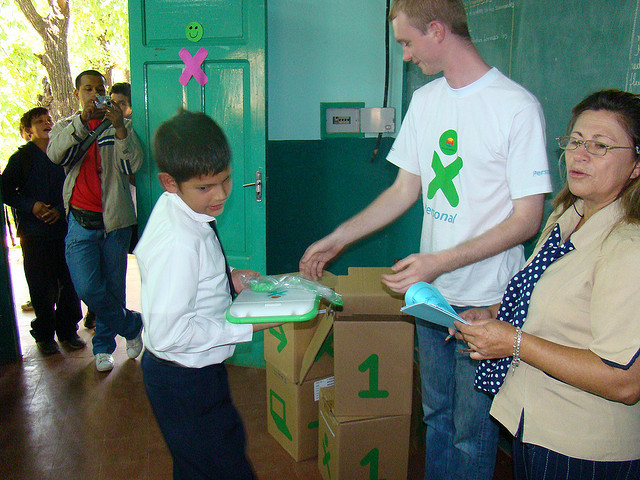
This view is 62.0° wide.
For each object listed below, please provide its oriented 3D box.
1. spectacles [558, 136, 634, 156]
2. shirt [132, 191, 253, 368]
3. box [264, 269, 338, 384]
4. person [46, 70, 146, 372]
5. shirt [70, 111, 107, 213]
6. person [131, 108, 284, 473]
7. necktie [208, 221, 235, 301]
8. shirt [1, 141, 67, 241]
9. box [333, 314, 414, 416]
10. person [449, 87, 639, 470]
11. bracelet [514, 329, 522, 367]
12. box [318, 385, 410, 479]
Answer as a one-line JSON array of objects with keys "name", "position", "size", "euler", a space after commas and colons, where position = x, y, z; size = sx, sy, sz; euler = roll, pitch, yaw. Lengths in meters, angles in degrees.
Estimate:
[{"name": "spectacles", "position": [0.965, -0.333, 1.883], "size": [0.247, 0.066, 0.102], "euler": [6, 14, 37]}, {"name": "shirt", "position": [-0.502, 0.097, 2.219], "size": [0.501, 0.837, 0.625], "euler": [0, 17, -10]}, {"name": "box", "position": [-0.060, 0.464, 3.018], "size": [0.304, 0.626, 0.607], "euler": [-13, 15, -42]}, {"name": "person", "position": [-1.611, -0.141, 3.980], "size": [0.626, 2.195, 0.469], "euler": [-8, 13, -28]}, {"name": "shirt", "position": [-1.835, -0.748, 4.166], "size": [0.166, 0.472, 0.756], "euler": [-15, 25, -23]}, {"name": "person", "position": [-0.482, 0.213, 2.118], "size": [0.427, 1.441, 0.403], "euler": [-13, 15, -42]}, {"name": "necktie", "position": [-0.401, 0.105, 2.276], "size": [0.051, 0.450, 0.046], "euler": [1, 27, 29]}, {"name": "shirt", "position": [-2.223, -0.374, 4.167], "size": [0.443, 0.780, 0.274], "euler": [-8, 13, -26]}, {"name": "box", "position": [0.267, 0.618, 2.962], "size": [0.424, 0.501, 0.469], "euler": [-1, 13, 1]}, {"name": "person", "position": [0.839, 0.168, 1.911], "size": [0.545, 1.352, 0.456], "euler": [1, 12, 18]}, {"name": "bracelet", "position": [0.697, 0.386, 1.881], "size": [0.021, 0.170, 0.096], "euler": [2, 12, 20]}, {"name": "box", "position": [0.230, 0.970, 2.815], "size": [0.409, 0.469, 0.436], "euler": [1, 0, 0]}]
